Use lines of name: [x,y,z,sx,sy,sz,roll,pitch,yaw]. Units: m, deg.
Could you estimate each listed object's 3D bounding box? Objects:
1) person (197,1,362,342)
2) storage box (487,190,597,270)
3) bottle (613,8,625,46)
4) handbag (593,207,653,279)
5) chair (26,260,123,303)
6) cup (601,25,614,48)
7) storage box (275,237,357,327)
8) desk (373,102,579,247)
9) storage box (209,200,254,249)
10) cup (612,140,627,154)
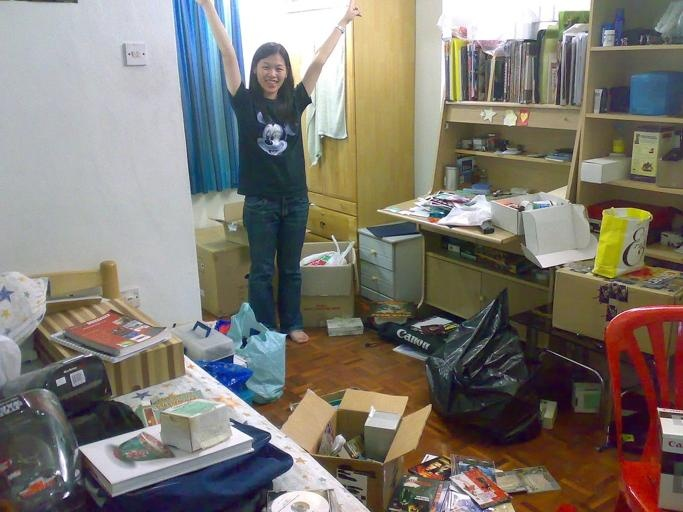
person: [-0.399,-0.499,3.362,0.755,2.205,0.308,-7,15,-11]
storage box: [1.159,-0.172,2.940,0.402,0.315,0.603,-8,16,-13]
bottle: [1.461,-1.206,2.657,0.041,0.180,0.092,3,17,27]
handbag: [1.411,-0.058,2.520,0.286,0.294,0.198,-8,17,-36]
chair: [-1.339,0.140,2.559,0.387,0.190,0.199,-10,16,-18]
cup: [1.408,-1.157,2.665,0.064,0.101,0.092,3,17,25]
storage box: [-0.124,0.246,3.919,0.620,0.649,0.660,-1,28,4]
desk: [1.193,-0.771,3.511,1.050,0.972,1.154,-19,30,-38]
storage box: [-0.832,-0.265,3.904,0.368,0.255,0.332,-13,21,-34]
cup: [1.578,-0.627,2.918,0.084,0.086,0.084,-2,13,1]
